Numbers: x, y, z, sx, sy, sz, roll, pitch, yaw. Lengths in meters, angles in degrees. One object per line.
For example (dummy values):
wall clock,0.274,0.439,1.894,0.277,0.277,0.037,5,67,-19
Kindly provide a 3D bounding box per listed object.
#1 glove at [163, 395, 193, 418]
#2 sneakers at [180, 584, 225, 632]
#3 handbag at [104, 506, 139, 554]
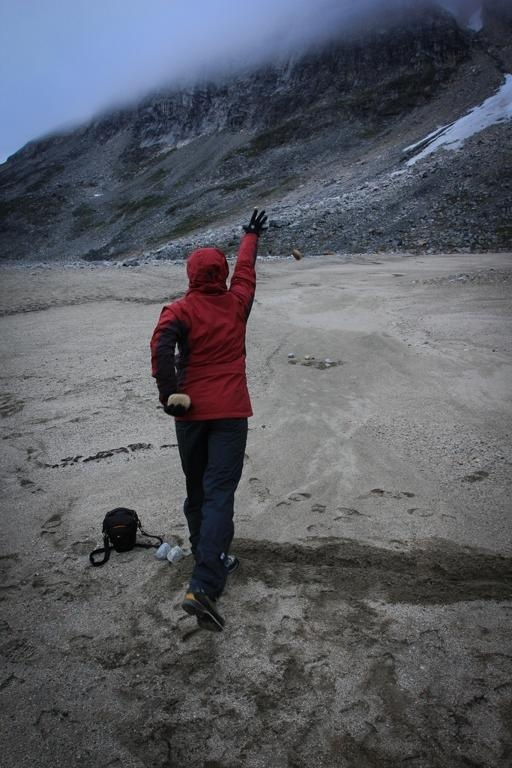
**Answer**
glove,-0.429,0.123,2.978,0.143,0.161,0.145,-4,17,-8
sneakers,-0.256,1.141,2.762,0.119,0.317,0.153,-21,27,34
handbag,-0.921,1.027,3.828,0.209,0.286,0.279,1,16,0
